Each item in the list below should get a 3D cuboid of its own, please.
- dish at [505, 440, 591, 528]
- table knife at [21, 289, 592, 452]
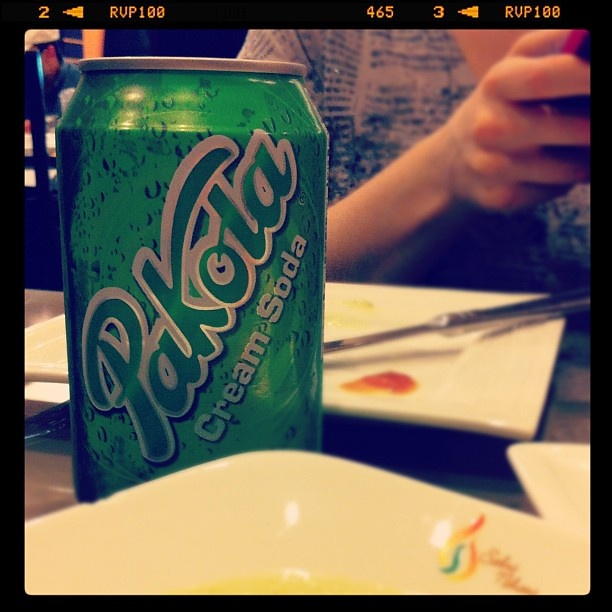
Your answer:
[{"bbox_3d":[0.220,0.155,0.593,0.090,0.080,0.008,17,3,-5],"label":"dish"},{"bbox_3d":[0.000,0.066,0.622,0.541,0.032,0.060,-11,41,-8],"label":"table knife"}]
